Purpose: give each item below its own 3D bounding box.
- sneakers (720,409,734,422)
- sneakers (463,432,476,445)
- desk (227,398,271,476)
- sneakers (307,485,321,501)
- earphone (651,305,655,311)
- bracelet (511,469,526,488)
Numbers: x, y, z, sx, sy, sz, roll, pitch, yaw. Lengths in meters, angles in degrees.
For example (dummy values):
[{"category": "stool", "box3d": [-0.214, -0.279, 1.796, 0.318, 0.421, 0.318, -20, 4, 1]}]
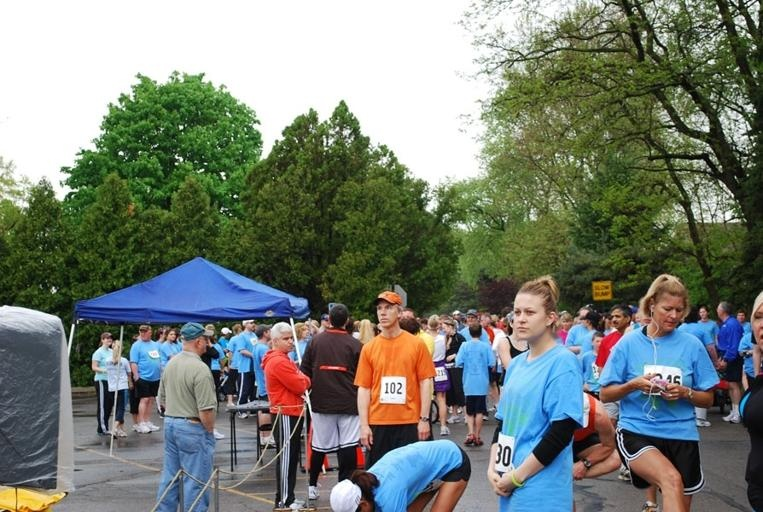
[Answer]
[{"category": "sneakers", "box3d": [7.915, 3.626, 19.678, 0.376, 0.293, 0.152, -4, -6, 13]}, {"category": "sneakers", "box3d": [1.835, 3.791, 18.012, 0.137, 0.132, 0.312, -6, -25, -2]}, {"category": "desk", "box3d": [-2.338, 3.226, 16.083, 0.798, 1.050, 1.043, 3, -21, -39]}, {"category": "sneakers", "box3d": [-1.127, 3.921, 14.410, 0.100, 0.142, 0.310, 0, -7, 23]}, {"category": "earphone", "box3d": [3.638, 0.671, 11.613, 0.081, 0.090, 0.076, -1, 0, 13]}, {"category": "bracelet", "box3d": [1.578, 2.614, 10.175, 0.072, 0.189, 0.171, -34, 14, 19]}]
